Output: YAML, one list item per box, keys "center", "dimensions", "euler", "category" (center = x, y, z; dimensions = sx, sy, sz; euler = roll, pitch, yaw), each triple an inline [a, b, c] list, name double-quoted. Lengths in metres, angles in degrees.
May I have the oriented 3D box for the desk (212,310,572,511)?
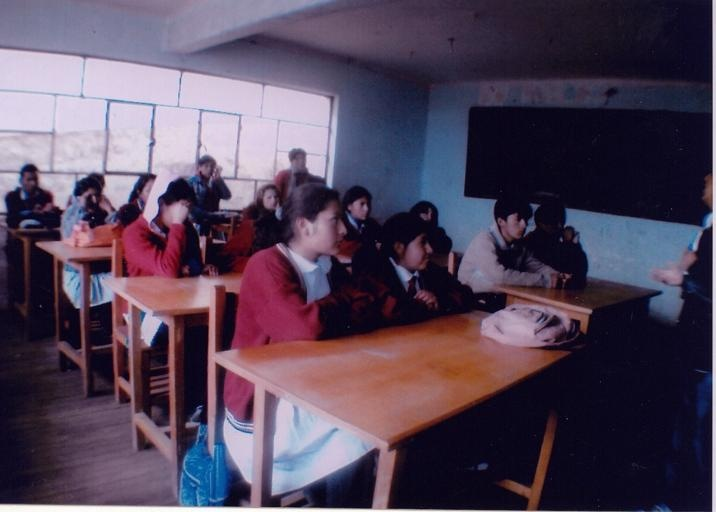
- center: [0.133, 0.648, 2.019]
  dimensions: [1.189, 0.645, 0.734]
  euler: [-1, 10, -39]
  category: "desk"

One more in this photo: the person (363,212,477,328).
- center: [0.274, 0.093, 2.675]
  dimensions: [0.449, 0.598, 0.801]
  euler: [1, -2, 41]
  category: "person"

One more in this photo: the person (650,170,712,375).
- center: [1.707, 0.084, 2.623]
  dimensions: [0.323, 1.006, 0.085]
  euler: [6, 7, 6]
  category: "person"
